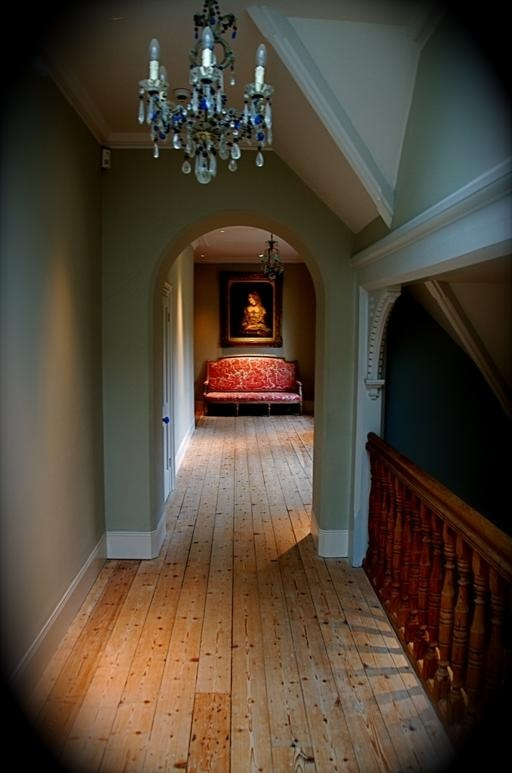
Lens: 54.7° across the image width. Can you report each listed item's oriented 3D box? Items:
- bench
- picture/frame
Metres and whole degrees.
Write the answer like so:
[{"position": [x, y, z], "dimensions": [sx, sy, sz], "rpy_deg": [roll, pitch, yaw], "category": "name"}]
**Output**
[{"position": [-0.077, -0.029, 11.223], "dimensions": [2.171, 1.308, 0.854], "rpy_deg": [0, 3, -4], "category": "bench"}, {"position": [-0.138, -1.847, 11.321], "dimensions": [1.150, 1.849, 0.125], "rpy_deg": [1, 1, 0], "category": "picture/frame"}]
